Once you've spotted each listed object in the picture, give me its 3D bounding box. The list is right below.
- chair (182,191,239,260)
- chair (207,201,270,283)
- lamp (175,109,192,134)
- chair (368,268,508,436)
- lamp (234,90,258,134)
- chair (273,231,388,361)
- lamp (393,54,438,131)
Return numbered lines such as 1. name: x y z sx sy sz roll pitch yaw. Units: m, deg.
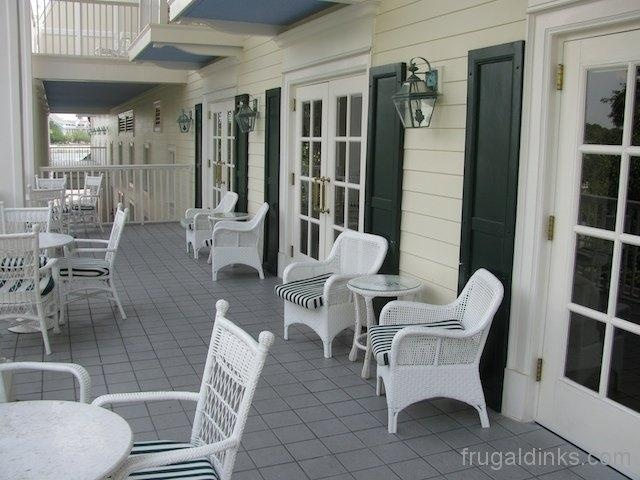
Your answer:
1. chair: -1.937 -0.288 8.239 1.124 1.415 0.987 -2 9 -24
2. chair: -1.228 -0.089 7.444 1.010 1.423 1.043 1 6 -12
3. lamp: -3.163 -2.788 10.930 0.305 0.543 0.595 -5 12 -21
4. chair: 0.702 0.807 3.769 1.045 1.274 0.901 0 5 -5
5. lamp: -1.233 -2.082 7.735 0.293 0.636 0.596 -6 12 -23
6. chair: 0.124 0.411 4.928 1.169 1.388 1.036 -4 8 -37
7. lamp: 0.859 -1.289 4.081 0.356 0.615 0.347 7 14 35
